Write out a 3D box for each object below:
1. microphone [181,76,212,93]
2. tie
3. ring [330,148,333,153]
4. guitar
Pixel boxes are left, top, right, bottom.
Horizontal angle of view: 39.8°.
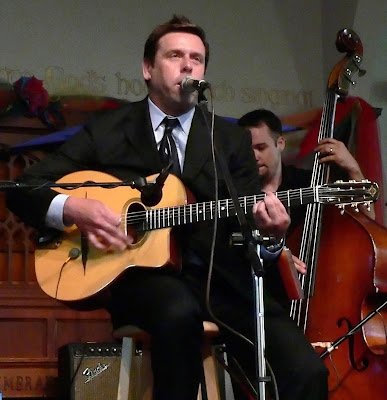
[{"bbox_3d":[0.012,-0.430,2.017,0.052,0.057,0.171,-11,6,-18],"label":"microphone"},{"bbox_3d":[-0.107,-0.242,2.374,0.093,0.271,0.038,-4,-32,6],"label":"tie"},{"bbox_3d":[0.732,-0.266,2.835,0.010,0.022,0.003,1,2,-27],"label":"ring"},{"bbox_3d":[0.009,0.189,2.283,1.426,0.603,0.210,-10,-27,8],"label":"guitar"}]
